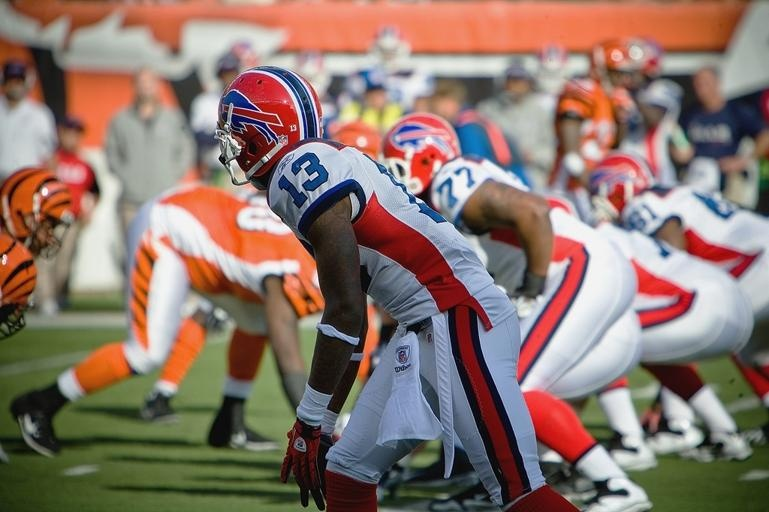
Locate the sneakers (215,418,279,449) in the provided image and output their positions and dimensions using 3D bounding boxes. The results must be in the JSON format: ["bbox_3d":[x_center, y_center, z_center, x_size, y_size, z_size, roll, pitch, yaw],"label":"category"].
[{"bbox_3d":[-1.064,1.337,7.896,0.536,0.214,0.181,3,-8,-9],"label":"sneakers"}]

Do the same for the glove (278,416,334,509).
[{"bbox_3d":[-0.456,1.220,6.177,0.281,0.664,0.378,1,13,2],"label":"glove"}]
